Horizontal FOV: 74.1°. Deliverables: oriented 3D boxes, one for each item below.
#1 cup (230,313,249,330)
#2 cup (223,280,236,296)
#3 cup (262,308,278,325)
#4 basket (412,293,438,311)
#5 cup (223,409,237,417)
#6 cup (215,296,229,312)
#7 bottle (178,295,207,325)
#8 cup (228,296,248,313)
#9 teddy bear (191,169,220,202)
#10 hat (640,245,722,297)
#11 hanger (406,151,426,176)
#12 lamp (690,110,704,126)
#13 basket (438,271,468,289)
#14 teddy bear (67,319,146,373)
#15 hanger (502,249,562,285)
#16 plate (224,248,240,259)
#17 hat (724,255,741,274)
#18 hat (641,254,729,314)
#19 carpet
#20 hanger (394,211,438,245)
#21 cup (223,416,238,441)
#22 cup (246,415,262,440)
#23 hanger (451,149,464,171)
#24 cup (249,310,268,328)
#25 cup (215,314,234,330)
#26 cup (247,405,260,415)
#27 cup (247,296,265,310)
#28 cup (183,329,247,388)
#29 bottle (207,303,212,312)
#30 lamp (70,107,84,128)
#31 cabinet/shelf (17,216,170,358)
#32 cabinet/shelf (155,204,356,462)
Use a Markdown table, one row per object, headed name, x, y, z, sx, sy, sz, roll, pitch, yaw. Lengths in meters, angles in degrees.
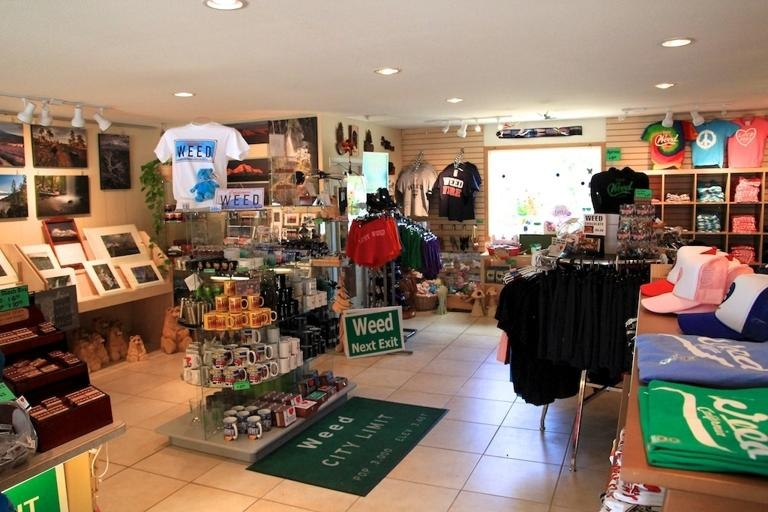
| name | x | y | z | sx | sy | sz | roll | pitch | yaw |
| --- | --- | --- | --- | --- | --- | --- | --- | --- | --- |
| cup | -1.280 | 0.594 | 4.517 | 0.189 | 0.153 | 0.114 | 4 | -1 | -16 |
| cup | -1.361 | 0.301 | 4.523 | 0.135 | 0.140 | 0.131 | 1 | -2 | 0 |
| cup | -1.047 | 0.571 | 4.722 | 0.162 | 0.140 | 0.095 | -3 | 6 | -25 |
| basket | 0.770 | 0.854 | 9.097 | 0.333 | 0.206 | 0.327 | -1 | -1 | 22 |
| cup | -1.413 | 1.479 | 4.713 | 0.070 | 0.047 | 0.060 | 0 | 2 | 23 |
| cup | -1.432 | 0.442 | 4.531 | 0.138 | 0.141 | 0.132 | 0 | -2 | 0 |
| bottle | -1.790 | 0.529 | 4.769 | 0.316 | 0.255 | 0.222 | 2 | 3 | 2 |
| cup | -1.291 | 0.442 | 4.517 | 0.170 | 0.139 | 0.131 | -2 | -1 | 38 |
| teddy bear | -2.056 | -0.821 | 5.913 | 0.265 | 0.359 | 0.384 | -5 | 6 | 30 |
| hat | 1.469 | 0.077 | 2.551 | 0.413 | 0.220 | 0.241 | -4 | 11 | 5 |
| hanger | 0.639 | -1.797 | 9.924 | 0.448 | 0.471 | 0.327 | 9 | 21 | 10 |
| lamp | 4.829 | -2.132 | 7.840 | 0.154 | 0.236 | 1.011 | 4 | 12 | 32 |
| basket | 1.274 | 0.461 | 9.540 | 0.622 | 0.301 | 0.215 | 7 | 14 | 41 |
| teddy bear | -3.837 | 1.219 | 7.063 | 0.823 | 0.531 | 0.933 | -10 | 13 | -40 |
| hanger | 1.296 | 0.088 | 4.412 | 0.483 | 0.241 | 0.679 | 1 | 10 | 17 |
| plate | -1.611 | -0.011 | 5.435 | 0.141 | 0.087 | 0.138 | 4 | 5 | 29 |
| hat | 1.555 | 0.047 | 2.281 | 0.090 | 0.072 | 0.071 | -10 | 12 | -42 |
| hat | 1.364 | 0.129 | 2.294 | 0.380 | 0.190 | 0.235 | -9 | 15 | 2 |
| carpet | -0.266 | 1.746 | 4.776 | 1.118 | 0.040 | 1.599 | 4 | 11 | 30 |
| hanger | 0.499 | -0.400 | 8.087 | 0.600 | 0.556 | 0.191 | -14 | -16 | -39 |
| cup | -1.376 | 1.573 | 4.591 | 0.126 | 0.203 | 0.104 | -4 | 11 | -11 |
| cup | -1.160 | 1.574 | 4.609 | 0.132 | 0.158 | 0.165 | -5 | 11 | -16 |
| hanger | 1.420 | -1.801 | 9.668 | 0.167 | 0.466 | 0.203 | 9 | -17 | 8 |
| cup | -1.114 | 0.579 | 4.564 | 0.114 | 0.115 | 0.182 | 0 | -1 | -15 |
| cup | -1.404 | 0.601 | 4.507 | 0.181 | 0.142 | 0.110 | 2 | 0 | 10 |
| cup | -1.215 | 1.456 | 4.761 | 0.084 | 0.061 | 0.084 | 2 | 4 | 0 |
| cup | -1.152 | 0.421 | 4.579 | 0.067 | 0.134 | 0.142 | 3 | 11 | 27 |
| cup | -1.533 | 0.997 | 4.677 | 0.601 | 0.260 | 0.426 | 0 | 0 | 0 |
| bottle | -1.593 | 0.485 | 4.690 | 0.052 | 0.076 | 0.051 | -2 | 10 | 0 |
| lamp | -3.681 | -1.674 | 6.160 | 0.103 | 0.255 | 1.016 | -8 | 11 | -28 |
| cabinet/shelf | -3.607 | 0.341 | 6.371 | 0.669 | 1.820 | 2.048 | 1 | 5 | 29 |
| cabinet/shelf | -1.224 | 0.448 | 5.601 | 1.497 | 2.163 | 2.710 | 2 | 5 | 21 |
